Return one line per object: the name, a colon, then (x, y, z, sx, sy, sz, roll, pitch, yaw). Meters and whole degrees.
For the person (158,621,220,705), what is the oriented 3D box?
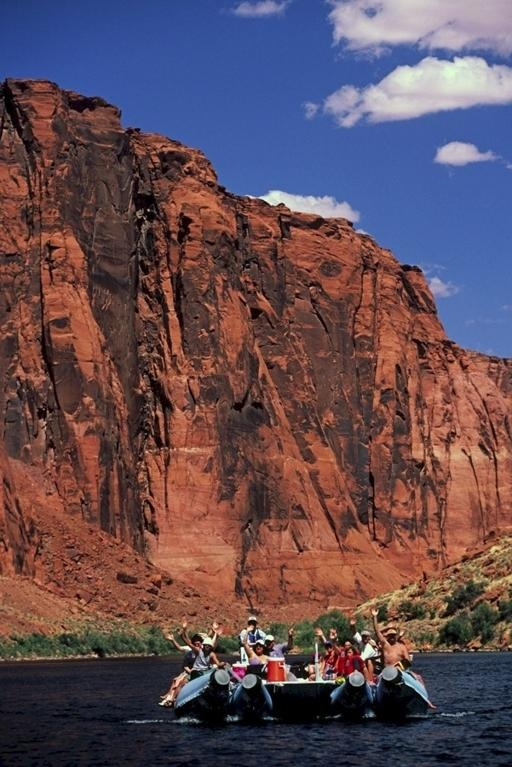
person: (-1.245, 6.170, 31.713, 1.326, 2.111, 1.159, 5, 12, -3)

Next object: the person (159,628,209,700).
person: (-1.512, 6.286, 31.908, 1.012, 1.746, 0.818, 17, -8, -24)

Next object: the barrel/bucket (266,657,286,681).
barrel/bucket: (0.453, 6.253, 31.723, 0.379, 0.492, 0.502, 3, -21, -7)

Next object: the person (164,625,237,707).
person: (-1.202, 6.143, 31.624, 1.275, 1.976, 0.891, 6, 2, 7)

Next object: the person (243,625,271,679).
person: (-0.033, 6.020, 32.889, 0.515, 1.256, 0.400, -5, -42, 8)
